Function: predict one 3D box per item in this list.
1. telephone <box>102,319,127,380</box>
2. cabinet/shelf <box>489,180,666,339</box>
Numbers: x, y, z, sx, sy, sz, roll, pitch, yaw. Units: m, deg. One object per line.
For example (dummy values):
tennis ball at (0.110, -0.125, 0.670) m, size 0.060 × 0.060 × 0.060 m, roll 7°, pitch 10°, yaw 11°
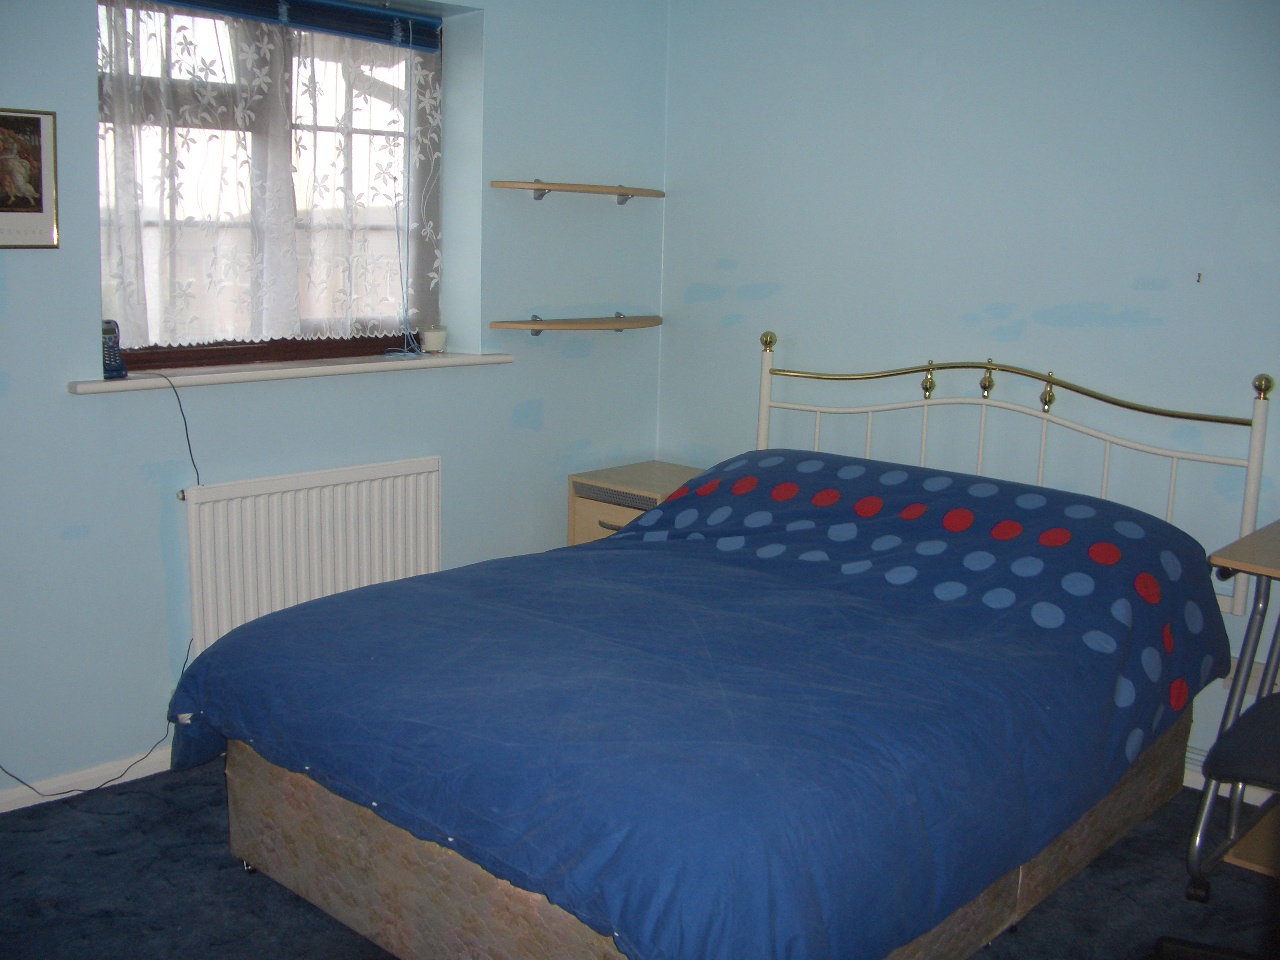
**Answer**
telephone at (-1.578, -0.389, 2.990) m, size 0.054 × 0.171 × 0.132 m, roll -3°, pitch 12°, yaw -12°
cabinet/shelf at (-0.213, -0.885, 3.980) m, size 0.249 × 0.603 × 0.873 m, roll 10°, pitch 16°, yaw 40°
